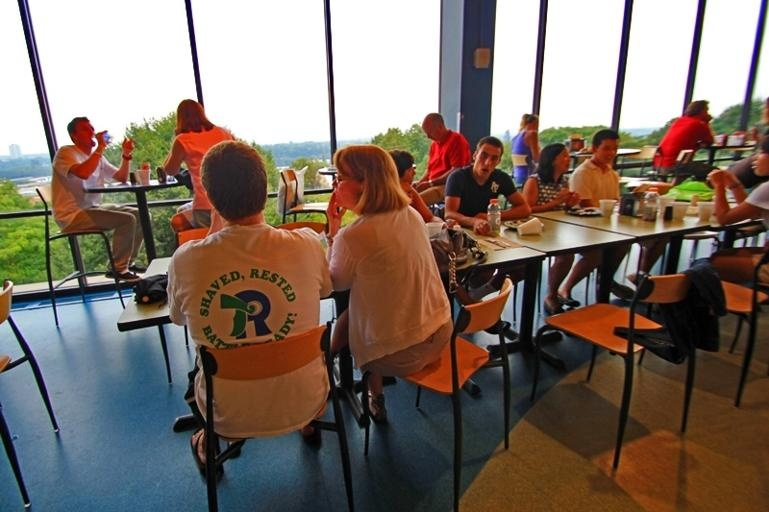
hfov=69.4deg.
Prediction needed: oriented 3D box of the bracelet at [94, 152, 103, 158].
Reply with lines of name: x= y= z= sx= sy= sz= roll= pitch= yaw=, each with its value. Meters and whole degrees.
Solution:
bracelet: x=-3.219 y=-1.121 z=6.163 sx=0.050 sy=0.068 sz=0.067 roll=-31 pitch=29 yaw=57

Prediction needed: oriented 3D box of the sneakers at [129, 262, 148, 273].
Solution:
sneakers: x=-2.968 y=0.133 z=6.582 sx=0.213 sy=0.148 sz=0.071 roll=-7 pitch=22 yaw=-25

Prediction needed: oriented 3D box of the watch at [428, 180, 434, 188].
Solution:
watch: x=0.594 y=-0.947 z=7.244 sx=0.035 sy=0.118 sz=0.083 roll=-1 pitch=4 yaw=-15

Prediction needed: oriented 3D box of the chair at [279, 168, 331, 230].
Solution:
chair: x=-0.963 y=-0.616 z=6.703 sx=0.581 sy=0.892 sz=0.530 roll=1 pitch=12 yaw=2

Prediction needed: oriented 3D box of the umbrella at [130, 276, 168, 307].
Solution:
umbrella: x=-1.810 y=0.262 z=4.235 sx=0.251 sy=0.118 sz=0.213 roll=-4 pitch=8 yaw=-7

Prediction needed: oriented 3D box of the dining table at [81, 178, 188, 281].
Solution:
dining table: x=-2.671 y=-0.374 z=6.216 sx=0.908 sy=0.966 sz=0.890 roll=-2 pitch=31 yaw=-7

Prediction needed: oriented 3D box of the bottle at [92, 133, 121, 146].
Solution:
bottle: x=-3.162 y=-1.316 z=6.199 sx=0.116 sy=0.198 sz=0.195 roll=29 pitch=29 yaw=33

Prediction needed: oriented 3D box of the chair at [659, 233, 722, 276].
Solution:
chair: x=3.140 y=-0.017 z=5.693 sx=0.370 sy=0.406 sz=0.375 roll=-14 pitch=19 yaw=-32

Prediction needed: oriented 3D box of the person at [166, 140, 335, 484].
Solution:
person: x=-0.947 y=0.467 z=3.926 sx=1.154 sy=2.516 sz=0.435 roll=-5 pitch=14 yaw=-6

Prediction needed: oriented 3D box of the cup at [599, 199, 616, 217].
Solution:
cup: x=2.250 y=-0.493 z=5.680 sx=0.171 sy=0.182 sz=0.172 roll=-1 pitch=7 yaw=0

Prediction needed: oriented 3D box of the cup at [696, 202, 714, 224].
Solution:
cup: x=3.121 y=-0.426 z=5.377 sx=0.203 sy=0.199 sz=0.184 roll=2 pitch=8 yaw=45

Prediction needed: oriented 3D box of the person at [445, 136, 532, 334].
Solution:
person: x=0.960 y=-0.341 z=5.690 sx=0.762 sy=1.674 sz=0.851 roll=-8 pitch=15 yaw=-29

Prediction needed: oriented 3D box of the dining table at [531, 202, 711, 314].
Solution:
dining table: x=2.247 y=-0.170 z=5.306 sx=1.204 sy=0.741 sz=1.175 roll=-16 pitch=24 yaw=-29

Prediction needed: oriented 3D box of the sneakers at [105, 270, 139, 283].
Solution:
sneakers: x=-3.033 y=0.224 z=6.357 sx=0.301 sy=0.123 sz=0.103 roll=-2 pitch=31 yaw=-30

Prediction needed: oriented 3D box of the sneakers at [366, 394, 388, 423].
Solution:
sneakers: x=-0.085 y=1.268 z=4.704 sx=0.112 sy=0.200 sz=0.290 roll=-4 pitch=18 yaw=-10

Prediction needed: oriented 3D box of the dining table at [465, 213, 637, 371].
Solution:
dining table: x=1.362 y=0.011 z=5.084 sx=2.101 sy=1.059 sz=1.138 roll=-17 pitch=26 yaw=-35

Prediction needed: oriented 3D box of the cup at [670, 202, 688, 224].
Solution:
cup: x=2.875 y=-0.432 z=5.460 sx=0.186 sy=0.149 sz=0.184 roll=0 pitch=18 yaw=0

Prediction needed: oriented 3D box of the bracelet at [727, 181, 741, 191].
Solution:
bracelet: x=3.412 y=-0.685 z=5.393 sx=0.080 sy=0.080 sz=0.079 roll=-38 pitch=23 yaw=-25

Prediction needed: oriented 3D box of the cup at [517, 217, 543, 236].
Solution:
cup: x=1.335 y=-0.283 z=5.125 sx=0.200 sy=0.184 sz=0.174 roll=-10 pitch=19 yaw=-5

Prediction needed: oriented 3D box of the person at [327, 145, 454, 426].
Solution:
person: x=0.021 y=0.042 z=4.201 sx=0.899 sy=1.755 sz=0.440 roll=-5 pitch=14 yaw=-6

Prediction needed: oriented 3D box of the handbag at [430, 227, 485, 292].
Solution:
handbag: x=0.554 y=0.057 z=4.561 sx=0.511 sy=0.153 sz=0.492 roll=-11 pitch=27 yaw=-20
